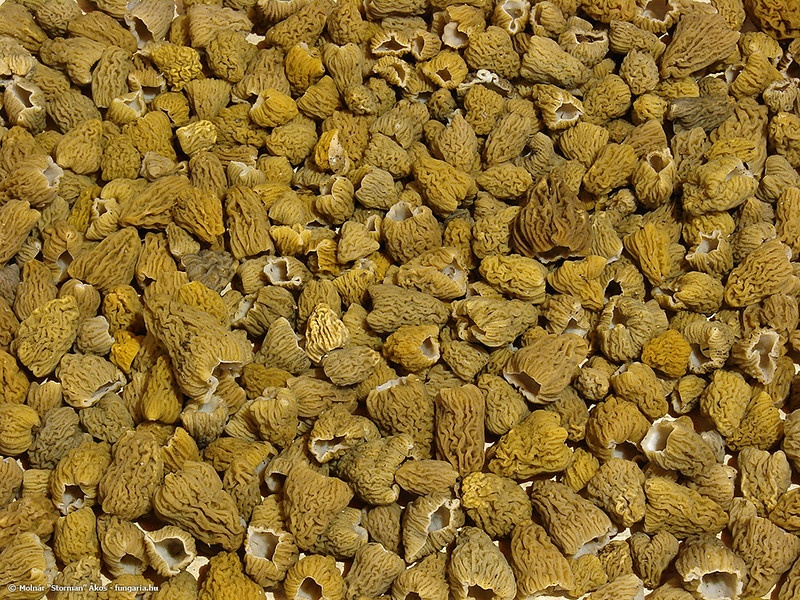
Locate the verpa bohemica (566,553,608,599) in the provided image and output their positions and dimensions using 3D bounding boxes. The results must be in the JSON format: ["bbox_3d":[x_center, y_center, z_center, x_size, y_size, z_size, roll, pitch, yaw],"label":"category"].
[{"bbox_3d":[1.213,1.789,5.438,0.236,0.081,0.246,-19,88,-5],"label":"verpa bohemica"}]
